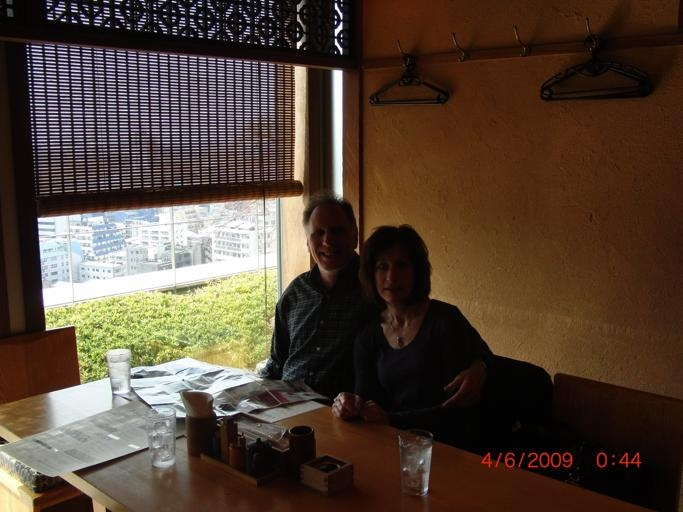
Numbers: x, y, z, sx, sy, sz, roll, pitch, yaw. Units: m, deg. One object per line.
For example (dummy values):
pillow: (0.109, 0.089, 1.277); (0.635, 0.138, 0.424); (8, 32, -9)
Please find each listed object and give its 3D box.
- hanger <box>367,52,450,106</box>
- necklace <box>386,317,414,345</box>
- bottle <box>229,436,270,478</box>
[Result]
hanger: (0.403, -1.078, 3.394); (0.142, 0.318, 0.537); (-14, 17, -42)
necklace: (0.242, 0.310, 2.299); (0.034, 0.106, 0.114); (7, -20, -38)
bottle: (-0.278, 0.594, 1.712); (0.129, 0.130, 0.085); (10, 11, 38)
